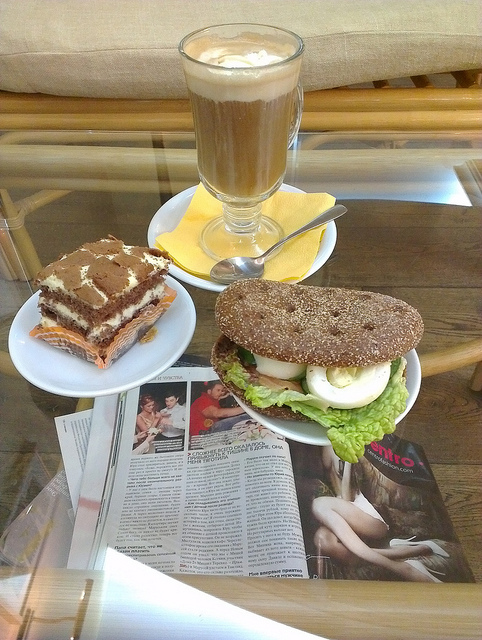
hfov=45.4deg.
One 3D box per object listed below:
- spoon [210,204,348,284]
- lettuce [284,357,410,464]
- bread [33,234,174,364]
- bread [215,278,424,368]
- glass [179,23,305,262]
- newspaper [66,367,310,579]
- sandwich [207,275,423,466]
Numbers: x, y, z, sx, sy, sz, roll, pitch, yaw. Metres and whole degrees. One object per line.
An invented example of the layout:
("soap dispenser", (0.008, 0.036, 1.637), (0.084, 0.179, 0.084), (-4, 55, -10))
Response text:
("spoon", (0.051, -0.097, 0.763), (0.190, 0.019, 0.038), (-32, 48, -15))
("lettuce", (0.124, 0.081, 0.550), (0.128, 0.024, 0.083), (-25, 49, -23))
("bread", (-0.168, -0.030, 0.705), (0.145, 0.085, 0.154), (11, 34, 10))
("bread", (0.074, -0.008, 0.551), (0.173, 0.030, 0.095), (9, 34, 15))
("glass", (0.002, -0.251, 0.777), (0.154, 0.241, 0.308), (3, 46, 4))
("newspaper", (-0.055, 0.145, 0.591), (0.220, 0.028, 0.245), (-2, 44, -2))
("sandwich", (0.079, 0.024, 0.606), (0.220, 0.081, 0.219), (21, 37, 29))
